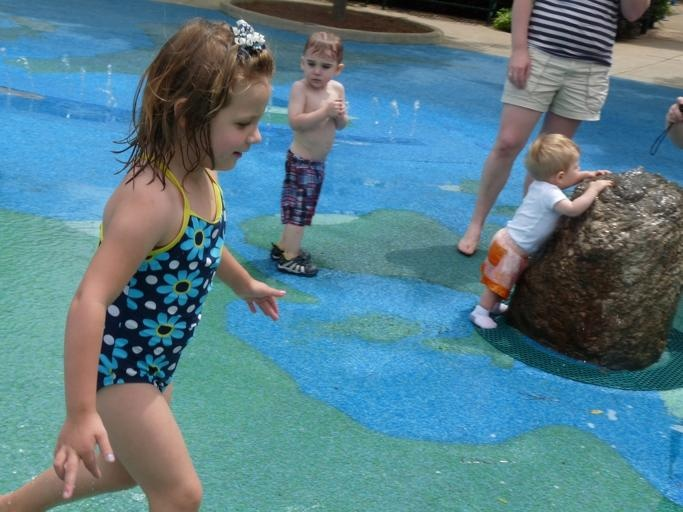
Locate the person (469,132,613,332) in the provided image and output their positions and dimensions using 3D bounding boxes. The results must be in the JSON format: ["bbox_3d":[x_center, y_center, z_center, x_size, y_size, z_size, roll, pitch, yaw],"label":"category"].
[{"bbox_3d":[1.127,-0.128,3.373,0.492,1.113,0.720,22,33,9],"label":"person"}]

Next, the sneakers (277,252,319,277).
[{"bbox_3d":[-0.281,0.044,3.727,0.242,0.113,0.179,2,28,-14],"label":"sneakers"}]

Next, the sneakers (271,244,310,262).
[{"bbox_3d":[-0.315,-0.021,3.782,0.343,0.100,0.087,2,38,4],"label":"sneakers"}]
